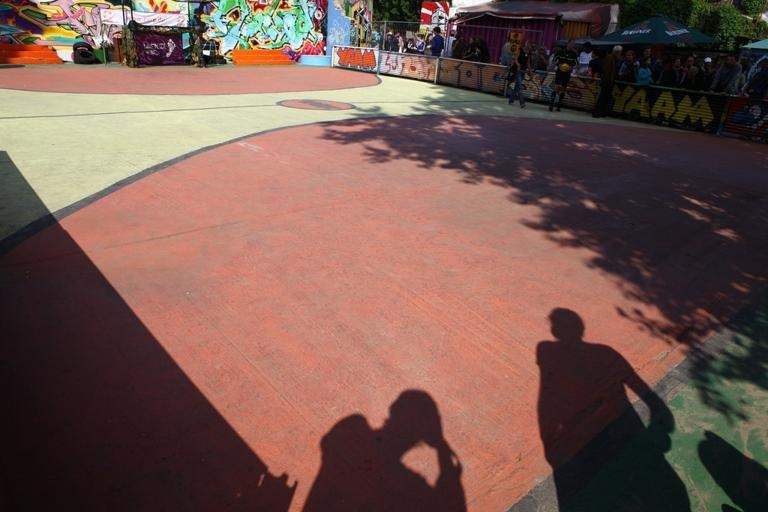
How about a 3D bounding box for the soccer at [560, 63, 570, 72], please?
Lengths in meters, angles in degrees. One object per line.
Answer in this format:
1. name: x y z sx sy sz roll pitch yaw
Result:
1. soccer: 7.149 -7.491 15.028 0.283 0.205 0.252 5 16 13
